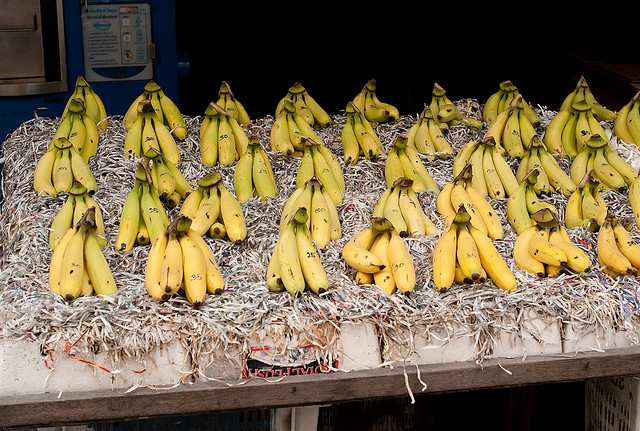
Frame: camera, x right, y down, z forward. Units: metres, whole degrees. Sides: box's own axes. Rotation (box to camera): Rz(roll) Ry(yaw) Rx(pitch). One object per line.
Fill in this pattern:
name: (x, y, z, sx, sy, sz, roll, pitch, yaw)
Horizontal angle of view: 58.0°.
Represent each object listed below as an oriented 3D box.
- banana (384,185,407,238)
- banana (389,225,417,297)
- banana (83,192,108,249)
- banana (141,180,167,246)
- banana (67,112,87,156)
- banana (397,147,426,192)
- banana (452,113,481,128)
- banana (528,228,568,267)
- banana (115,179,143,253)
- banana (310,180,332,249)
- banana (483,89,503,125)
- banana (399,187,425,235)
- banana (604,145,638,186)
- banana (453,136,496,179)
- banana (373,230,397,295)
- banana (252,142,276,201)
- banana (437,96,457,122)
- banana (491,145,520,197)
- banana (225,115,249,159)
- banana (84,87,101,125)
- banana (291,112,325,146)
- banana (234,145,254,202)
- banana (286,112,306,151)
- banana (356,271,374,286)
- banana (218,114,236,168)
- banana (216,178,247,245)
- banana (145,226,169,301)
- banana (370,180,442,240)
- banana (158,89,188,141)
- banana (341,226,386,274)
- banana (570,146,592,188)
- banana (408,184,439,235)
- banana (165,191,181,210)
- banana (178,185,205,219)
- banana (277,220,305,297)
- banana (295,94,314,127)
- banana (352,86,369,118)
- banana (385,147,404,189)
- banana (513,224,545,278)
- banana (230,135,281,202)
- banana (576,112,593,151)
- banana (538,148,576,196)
banana: (0.335, -0.012, 2.603, 0.059, 0.262, 0.091, 12, -42, -11)
banana: (0.336, 0.199, 2.367, 0.077, 0.294, 0.095, -20, -17, 18)
banana: (-0.979, 0.022, 2.532, 0.075, 0.297, 0.102, -9, -1, -23)
banana: (-0.744, -0.011, 2.519, 0.082, 0.347, 0.116, -12, -14, -11)
banana: (-1.244, -0.425, 2.955, 0.061, 0.270, 0.092, -5, -21, -3)
banana: (0.457, -0.219, 2.923, 0.080, 0.304, 0.107, -21, -7, 9)
banana: (0.875, -0.563, 3.425, 0.102, 0.109, 0.145, 2, -7, -42)
banana: (0.946, 0.149, 2.416, 0.106, 0.068, 0.208, -12, 17, 2)
banana: (-0.825, 0.026, 2.569, 0.081, 0.346, 0.112, 12, -13, -25)
banana: (-0.017, -0.007, 2.587, 0.084, 0.309, 0.113, -6, -29, 8)
banana: (1.034, -0.648, 3.472, 0.068, 0.267, 0.091, 8, -23, 16)
banana: (0.409, -0.012, 2.628, 0.068, 0.239, 0.083, -9, -21, 1)
banana: (1.552, -0.251, 2.986, 0.052, 0.236, 0.084, -29, -30, -6)
banana: (0.799, -0.291, 2.987, 0.096, 0.277, 0.074, 6, -43, 44)
banana: (0.256, 0.200, 2.415, 0.070, 0.282, 0.089, -1, -23, -3)
banana: (-0.294, -0.207, 2.858, 0.074, 0.291, 0.101, -10, -13, -10)
banana: (0.752, -0.640, 3.442, 0.113, 0.182, 0.150, -4, -6, 14)
banana: (0.925, -0.232, 3.003, 0.071, 0.312, 0.104, -18, -29, 7)
banana: (-0.434, -0.418, 3.112, 0.076, 0.291, 0.095, -20, -5, 6)
banana: (-1.271, -0.605, 3.208, 0.058, 0.229, 0.078, -13, 1, -6)
banana: (-0.076, -0.476, 3.174, 0.057, 0.268, 0.088, -39, -14, -11)
banana: (-0.364, -0.209, 2.871, 0.070, 0.274, 0.093, 22, -25, -31)
banana: (-0.139, -0.432, 3.066, 0.069, 0.268, 0.091, -14, -19, 4)
banana: (0.178, 0.259, 2.381, 0.072, 0.042, 0.044, -4, -59, -20)
banana: (-0.500, -0.394, 3.053, 0.071, 0.261, 0.085, -15, -19, 9)
banana: (-0.411, -0.016, 2.615, 0.078, 0.298, 0.107, -39, -37, 28)
banana: (-0.647, 0.201, 2.289, 0.062, 0.273, 0.087, -23, -41, 40)
banana: (0.385, -0.013, 2.623, 0.227, 0.324, 0.128, 1, -35, -7)
banana: (-0.876, -0.597, 3.325, 0.148, 0.134, 0.478, 33, -14, 0)
banana: (0.189, 0.137, 2.429, 0.188, 0.264, 0.063, 4, -52, 14)
banana: (1.333, -0.240, 2.949, 0.058, 0.235, 0.082, 33, -25, 3)
banana: (0.477, -0.017, 2.706, 0.048, 0.224, 0.074, -20, -9, -8)
banana: (-0.693, -0.069, 2.702, 0.052, 0.073, 0.040, 6, -51, 10)
banana: (-0.588, -0.056, 2.621, 0.038, 0.147, 0.050, 30, -20, 2)
banana: (-0.122, 0.174, 2.354, 0.079, 0.292, 0.091, 27, -42, -33)
banana: (-0.100, -0.611, 3.371, 0.066, 0.248, 0.079, 0, -39, -23)
banana: (0.252, -0.701, 3.506, 0.063, 0.261, 0.091, -12, -32, 35)
banana: (0.403, -0.235, 3.004, 0.071, 0.227, 0.141, 20, -25, -40)
banana: (0.880, 0.171, 2.486, 0.162, 0.315, 0.076, 0, -41, 15)
banana: (-0.325, -0.203, 2.818, 0.188, 0.362, 0.142, -6, -35, -12)
banana: (1.435, -0.475, 3.197, 0.070, 0.287, 0.098, 3, -37, 12)
banana: (1.204, -0.214, 3.009, 0.082, 0.313, 0.112, -27, -28, -7)
